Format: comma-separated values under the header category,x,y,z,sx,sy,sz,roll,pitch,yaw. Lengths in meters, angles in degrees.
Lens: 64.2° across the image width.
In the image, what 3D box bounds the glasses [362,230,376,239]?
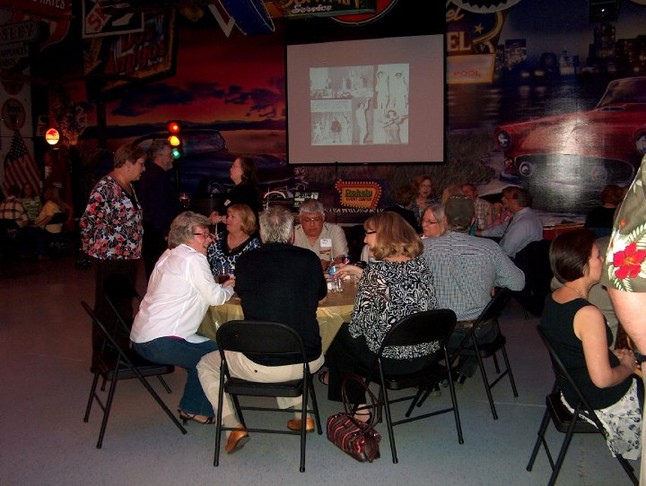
category,x,y,z,sx,sy,sz,roll,pitch,yaw
glasses,0.330,-0.054,3.536,0.083,0.027,0.086,4,-5,-35

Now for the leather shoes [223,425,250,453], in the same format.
category,x,y,z,sx,sy,sz,roll,pitch,yaw
leather shoes,-0.590,1.343,3.511,0.110,0.261,0.107,50,33,20

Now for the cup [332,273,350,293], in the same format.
category,x,y,z,sx,sy,sz,roll,pitch,yaw
cup,0.173,0.332,4.124,0.155,0.165,0.092,0,2,18

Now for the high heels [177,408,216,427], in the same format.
category,x,y,z,sx,sy,sz,roll,pitch,yaw
high heels,-0.952,1.327,3.874,0.310,0.140,0.116,-2,2,4

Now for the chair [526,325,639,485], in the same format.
category,x,y,z,sx,sy,sz,roll,pitch,yaw
chair,1.533,0.993,3.192,0.508,1.012,0.568,-1,11,1

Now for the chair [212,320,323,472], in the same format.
category,x,y,z,sx,sy,sz,roll,pitch,yaw
chair,-0.390,0.953,3.453,0.716,1.028,0.413,0,11,4

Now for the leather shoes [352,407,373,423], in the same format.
category,x,y,z,sx,sy,sz,roll,pitch,yaw
leather shoes,0.298,1.218,3.614,0.128,0.073,0.166,12,-16,-32

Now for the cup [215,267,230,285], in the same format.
category,x,y,z,sx,sy,sz,roll,pitch,yaw
cup,-0.824,0.275,4.243,0.148,0.116,0.119,0,12,1

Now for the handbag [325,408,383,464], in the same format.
category,x,y,z,sx,sy,sz,roll,pitch,yaw
handbag,0.206,1.286,3.407,0.227,0.158,0.374,-2,2,-32
